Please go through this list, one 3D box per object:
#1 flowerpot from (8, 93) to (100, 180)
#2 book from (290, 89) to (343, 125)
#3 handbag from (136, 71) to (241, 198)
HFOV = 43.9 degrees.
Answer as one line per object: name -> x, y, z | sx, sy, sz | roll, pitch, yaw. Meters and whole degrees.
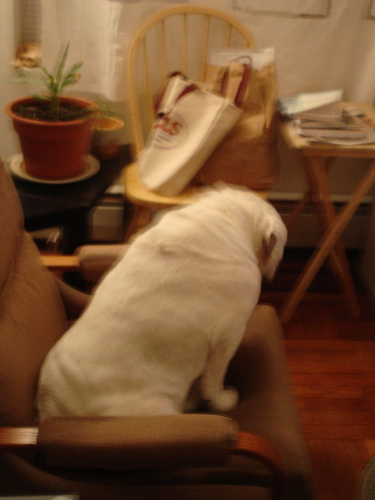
flowerpot -> -0.173, -0.139, 0.594 | 0.109, 0.084, 0.074 | 8, 39, 1
book -> 0.173, -0.187, 0.633 | 0.065, 0.022, 0.060 | 5, 46, 11
handbag -> 0.012, -0.146, 0.612 | 0.114, 0.047, 0.158 | 27, 83, 15
